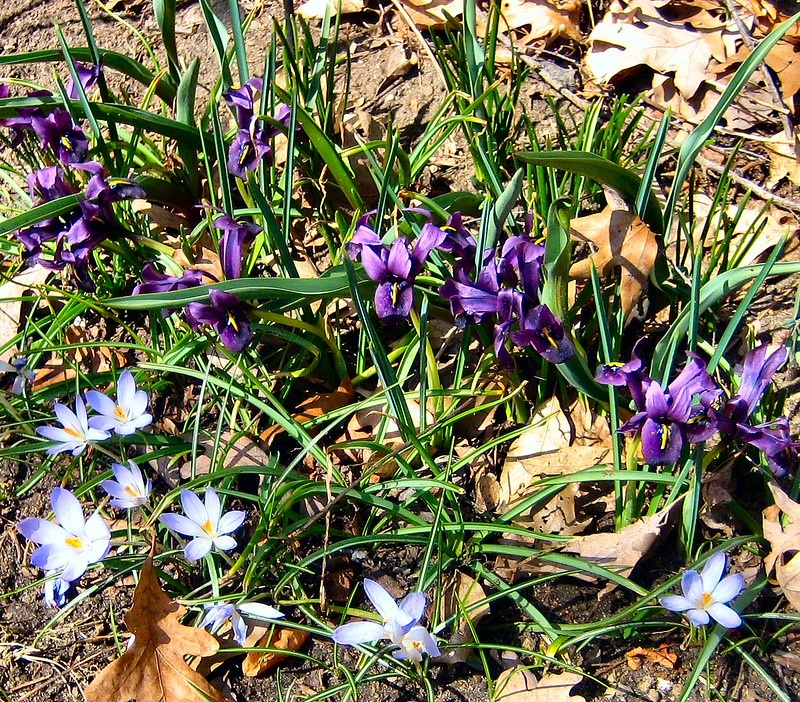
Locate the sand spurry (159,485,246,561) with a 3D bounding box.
[{"bbox_3d":[-0.444,0.393,1.849,0.179,0.134,0.099,-7,40,0],"label":"sand spurry"}]

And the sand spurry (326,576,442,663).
[{"bbox_3d":[-0.026,0.605,1.781,0.225,0.238,0.108,3,39,10],"label":"sand spurry"}]

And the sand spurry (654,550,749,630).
[{"bbox_3d":[0.675,0.556,1.829,0.177,0.093,0.161,-41,74,0],"label":"sand spurry"}]

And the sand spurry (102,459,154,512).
[{"bbox_3d":[-0.633,0.328,1.921,0.107,0.074,0.102,-2,44,41],"label":"sand spurry"}]

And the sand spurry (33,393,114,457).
[{"bbox_3d":[-0.828,0.200,2.089,0.129,0.094,0.209,6,87,8],"label":"sand spurry"}]
